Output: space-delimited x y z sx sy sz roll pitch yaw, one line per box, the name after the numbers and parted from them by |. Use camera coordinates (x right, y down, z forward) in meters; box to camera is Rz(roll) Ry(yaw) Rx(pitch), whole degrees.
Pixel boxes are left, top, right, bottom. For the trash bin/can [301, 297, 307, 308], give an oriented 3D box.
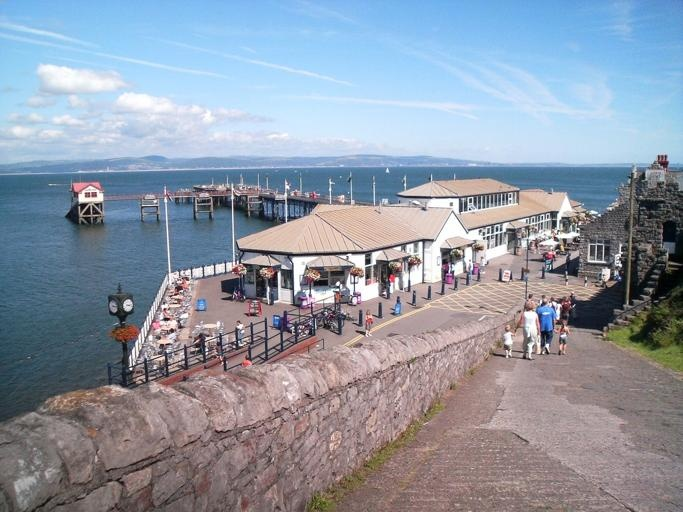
-2.270 2.850 33.918 0.502 0.862 0.497 0 8 -7 | trash bin/can

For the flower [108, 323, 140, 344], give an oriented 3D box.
-8.126 2.893 20.640 0.867 0.781 1.799 0 2 -24 | flower

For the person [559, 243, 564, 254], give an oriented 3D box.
22.139 -0.741 55.808 0.262 0.977 0.730 4 -4 12 | person

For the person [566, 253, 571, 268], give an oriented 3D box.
19.755 0.352 48.166 0.390 0.347 1.305 -20 -22 15 | person

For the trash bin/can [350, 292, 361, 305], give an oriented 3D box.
0.958 2.703 35.244 0.567 0.791 0.396 0 2 -26 | trash bin/can

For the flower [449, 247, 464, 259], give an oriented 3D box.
8.867 -0.251 42.491 0.740 0.782 1.896 2 2 19 | flower
